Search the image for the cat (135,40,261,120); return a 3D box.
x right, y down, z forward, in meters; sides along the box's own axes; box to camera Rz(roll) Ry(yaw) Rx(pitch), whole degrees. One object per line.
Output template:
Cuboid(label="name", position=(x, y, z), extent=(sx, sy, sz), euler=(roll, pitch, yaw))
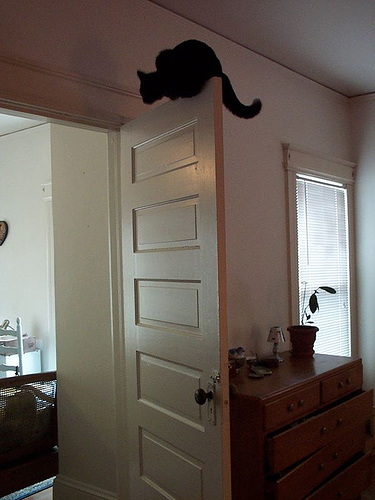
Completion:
Cuboid(label="cat", position=(0.031, -0.594, 1.446), extent=(0.460, 0.248, 0.147), euler=(10, 2, 23))

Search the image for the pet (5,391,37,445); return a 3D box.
Cuboid(label="pet", position=(-0.958, 0.943, 2.361), extent=(0.160, 0.275, 0.180), euler=(1, 2, -39))

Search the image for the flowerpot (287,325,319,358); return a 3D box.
Cuboid(label="flowerpot", position=(0.739, 0.584, 2.617), extent=(0.189, 0.196, 0.167), euler=(-2, -2, 24))

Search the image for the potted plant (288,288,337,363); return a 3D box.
Cuboid(label="potted plant", position=(0.865, 0.500, 2.801), extent=(0.288, 0.490, 0.756), euler=(-2, -2, 20))

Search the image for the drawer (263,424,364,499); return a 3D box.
Cuboid(label="drawer", position=(0.708, 1.101, 2.096), extent=(0.061, 0.222, 1.065), euler=(-3, -3, 45))
